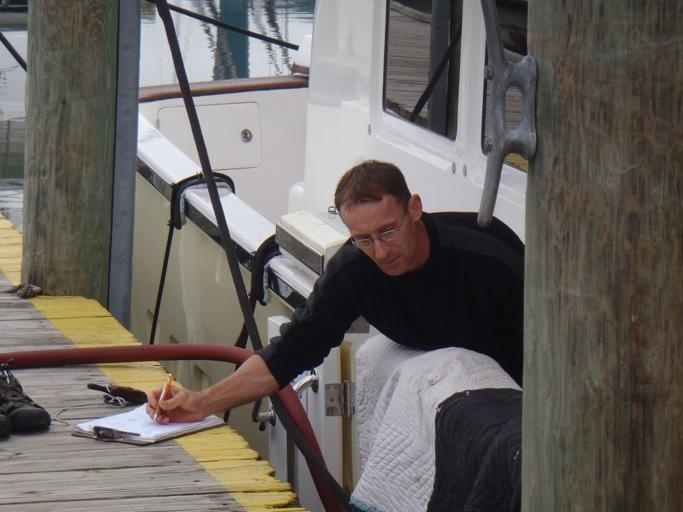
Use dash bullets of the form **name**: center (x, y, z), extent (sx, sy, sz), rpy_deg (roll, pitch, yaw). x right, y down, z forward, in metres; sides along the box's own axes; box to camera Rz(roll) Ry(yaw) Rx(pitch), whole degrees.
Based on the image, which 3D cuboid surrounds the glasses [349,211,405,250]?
- **glasses**: center (0.121, -0.067, 4.236), extent (0.121, 0.042, 0.132), rpy_deg (-26, 16, 43)

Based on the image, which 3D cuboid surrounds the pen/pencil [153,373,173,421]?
- **pen/pencil**: center (-0.639, 0.515, 4.491), extent (0.017, 0.157, 0.017), rpy_deg (15, 10, -7)

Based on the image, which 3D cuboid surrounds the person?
- **person**: center (0.158, 0.126, 4.341), extent (1.137, 0.653, 0.861), rpy_deg (-18, -7, 31)
